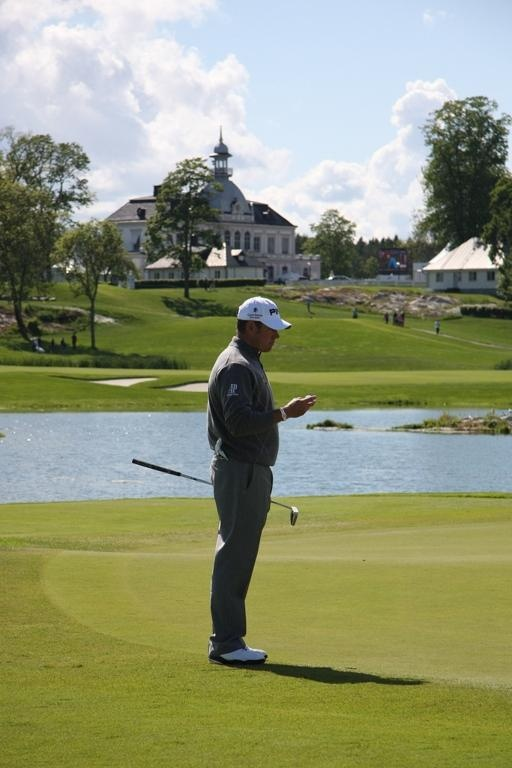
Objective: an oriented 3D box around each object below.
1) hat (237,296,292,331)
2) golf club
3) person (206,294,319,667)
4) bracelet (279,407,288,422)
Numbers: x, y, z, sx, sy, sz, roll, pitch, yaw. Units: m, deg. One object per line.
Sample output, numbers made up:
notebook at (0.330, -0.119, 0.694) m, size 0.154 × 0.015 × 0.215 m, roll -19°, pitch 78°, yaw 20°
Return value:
hat at (0.064, -0.461, 10.405) m, size 0.303 × 0.188 × 0.201 m, roll 3°, pitch 9°, yaw 4°
golf club at (-0.456, 1.079, 16.002) m, size 1.769 × 0.224 × 0.257 m, roll 19°, pitch 1°, yaw -4°
person at (-0.001, 0.561, 10.197) m, size 0.593 × 2.243 × 0.975 m, roll 0°, pitch 3°, yaw -2°
bracelet at (0.172, 0.186, 10.179) m, size 0.052 × 0.087 × 0.082 m, roll 0°, pitch 6°, yaw -1°
